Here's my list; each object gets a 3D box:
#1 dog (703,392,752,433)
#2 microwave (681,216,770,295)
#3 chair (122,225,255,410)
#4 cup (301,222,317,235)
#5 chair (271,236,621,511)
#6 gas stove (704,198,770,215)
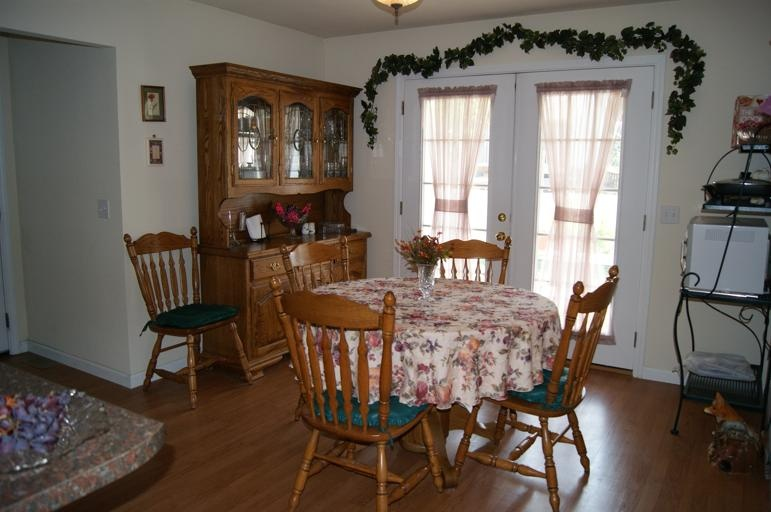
[{"bbox_3d":[2.349,1.047,3.636,0.250,0.206,0.421,6,13,26],"label":"dog"},{"bbox_3d":[2.425,-0.067,3.903,0.517,0.541,0.543,5,12,23],"label":"microwave"},{"bbox_3d":[-1.675,0.441,4.377,0.852,1.302,0.695,9,15,38],"label":"chair"},{"bbox_3d":[-0.773,-0.264,5.339,0.087,0.155,0.159,3,5,13],"label":"cup"},{"bbox_3d":[0.273,0.789,3.240,1.836,1.444,0.881,-3,12,-13],"label":"chair"},{"bbox_3d":[2.478,-0.333,3.731,0.396,0.080,0.203,9,14,37],"label":"gas stove"}]
